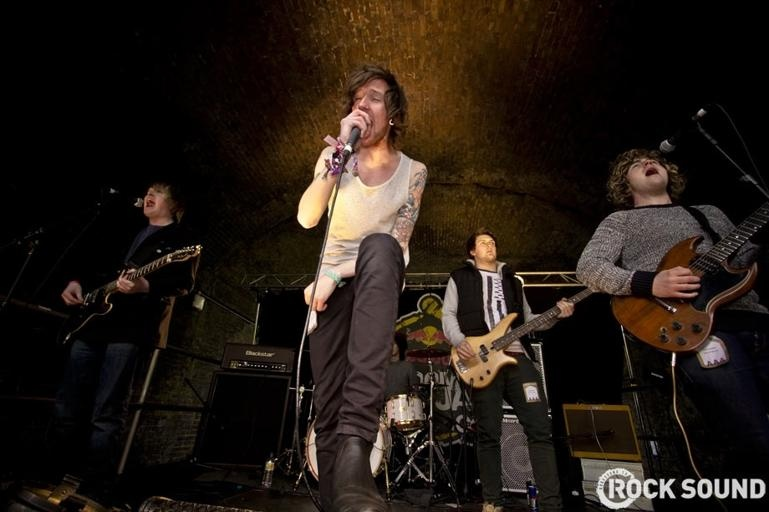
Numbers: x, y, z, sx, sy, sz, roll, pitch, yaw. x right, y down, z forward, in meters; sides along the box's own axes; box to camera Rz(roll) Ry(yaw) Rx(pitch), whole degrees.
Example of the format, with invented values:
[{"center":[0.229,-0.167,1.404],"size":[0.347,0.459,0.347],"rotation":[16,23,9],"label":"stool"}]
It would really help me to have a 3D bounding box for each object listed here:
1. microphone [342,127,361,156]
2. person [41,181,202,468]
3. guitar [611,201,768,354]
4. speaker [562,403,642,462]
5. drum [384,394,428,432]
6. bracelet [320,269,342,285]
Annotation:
[{"center":[-0.234,-0.841,3.558],"size":[0.108,0.237,0.094],"rotation":[21,-29,-34],"label":"microphone"},{"center":[-2.851,0.583,5.297],"size":[1.208,3.174,0.554],"rotation":[-1,-25,12],"label":"person"},{"center":[2.550,0.302,3.942],"size":[1.728,0.629,0.227],"rotation":[-36,-43,-3],"label":"guitar"},{"center":[2.842,2.338,6.355],"size":[0.981,0.836,0.315],"rotation":[-3,-42,17],"label":"speaker"},{"center":[0.280,2.189,6.639],"size":[0.598,0.416,0.583],"rotation":[-4,-37,-3],"label":"drum"},{"center":[-0.399,0.154,3.556],"size":[0.112,0.044,0.101],"rotation":[43,-20,15],"label":"bracelet"}]
